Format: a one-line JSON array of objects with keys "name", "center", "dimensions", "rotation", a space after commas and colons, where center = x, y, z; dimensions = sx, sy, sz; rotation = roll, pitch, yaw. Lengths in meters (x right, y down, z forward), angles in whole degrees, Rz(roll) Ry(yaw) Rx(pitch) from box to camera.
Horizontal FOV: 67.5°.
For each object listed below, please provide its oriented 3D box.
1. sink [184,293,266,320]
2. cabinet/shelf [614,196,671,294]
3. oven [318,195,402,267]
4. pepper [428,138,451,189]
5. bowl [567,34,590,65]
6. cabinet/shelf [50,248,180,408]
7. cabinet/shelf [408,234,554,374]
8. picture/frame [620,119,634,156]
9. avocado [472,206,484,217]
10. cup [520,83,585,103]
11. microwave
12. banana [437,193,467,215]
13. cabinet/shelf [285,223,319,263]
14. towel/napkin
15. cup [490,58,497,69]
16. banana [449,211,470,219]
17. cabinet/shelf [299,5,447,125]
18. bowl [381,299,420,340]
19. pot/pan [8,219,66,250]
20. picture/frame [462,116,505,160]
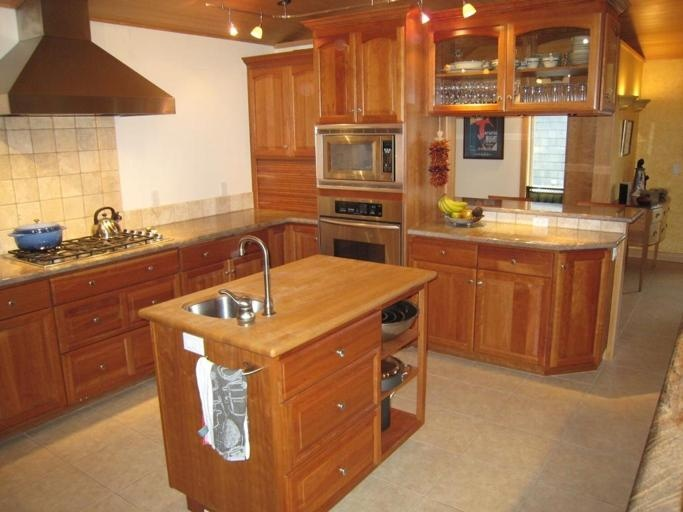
[{"name": "sink", "center": [-0.676, 0.301, 2.911], "dimensions": [0.254, 0.135, 0.239], "rotation": [9, 15, 30]}, {"name": "cabinet/shelf", "center": [3.507, -0.132, 5.967], "dimensions": [0.548, 0.947, 1.183], "rotation": [9, 23, 33]}, {"name": "oven", "center": [0.279, -0.272, 4.997], "dimensions": [0.801, 0.883, 0.612], "rotation": [10, 35, 19]}, {"name": "pepper", "center": [0.877, -0.861, 4.718], "dimensions": [0.233, 0.400, 0.228], "rotation": [2, 2, -5]}, {"name": "bowl", "center": [1.890, -1.639, 4.068], "dimensions": [0.224, 0.184, 0.215], "rotation": [0, 10, 0]}, {"name": "cabinet/shelf", "center": [-1.978, 0.523, 4.155], "dimensions": [0.682, 0.996, 1.172], "rotation": [7, 16, 28]}, {"name": "cabinet/shelf", "center": [1.171, 0.375, 4.141], "dimensions": [1.280, 0.885, 0.460], "rotation": [5, 13, 27]}, {"name": "picture/frame", "center": [3.827, -1.622, 6.886], "dimensions": [0.050, 0.399, 0.625], "rotation": [3, 20, 35]}, {"name": "avocado", "center": [1.207, -0.395, 4.537], "dimensions": [0.083, 0.071, 0.102], "rotation": [-8, 2, 12]}, {"name": "cup", "center": [1.713, -1.338, 4.178], "dimensions": [0.505, 0.164, 0.097], "rotation": [2, 15, 21]}, {"name": "microwave", "center": [0.337, -0.946, 4.776], "dimensions": [1.025, 0.535, 0.568], "rotation": [11, 18, 40]}, {"name": "banana", "center": [0.975, -0.459, 4.676], "dimensions": [0.307, 0.158, 0.169], "rotation": [14, -4, 24]}, {"name": "cabinet/shelf", "center": [-0.383, -0.153, 5.077], "dimensions": [0.397, 0.321, 0.249], "rotation": [8, 19, 27]}, {"name": "towel/napkin", "center": [-0.572, 0.767, 2.495], "dimensions": [0.303, 0.507, 0.097], "rotation": [5, 18, 30]}, {"name": "cup", "center": [1.292, -1.641, 4.346], "dimensions": [0.074, 0.059, 0.071], "rotation": [-1, 12, 0]}, {"name": "banana", "center": [1.052, -0.364, 4.526], "dimensions": [0.125, 0.043, 0.068], "rotation": [-2, 8, 11]}, {"name": "cabinet/shelf", "center": [0.325, -1.687, 4.463], "dimensions": [1.180, 0.943, 0.570], "rotation": [4, 13, 27]}, {"name": "bowl", "center": [0.372, 0.433, 3.268], "dimensions": [0.230, 0.198, 0.441], "rotation": [-1, 12, 8]}, {"name": "pot/pan", "center": [-2.264, -0.192, 3.816], "dimensions": [0.326, 0.161, 0.232], "rotation": [-2, 9, -8]}, {"name": "picture/frame", "center": [1.361, -1.170, 4.935], "dimensions": [0.465, 0.496, 0.045], "rotation": [0, 10, 2]}]
